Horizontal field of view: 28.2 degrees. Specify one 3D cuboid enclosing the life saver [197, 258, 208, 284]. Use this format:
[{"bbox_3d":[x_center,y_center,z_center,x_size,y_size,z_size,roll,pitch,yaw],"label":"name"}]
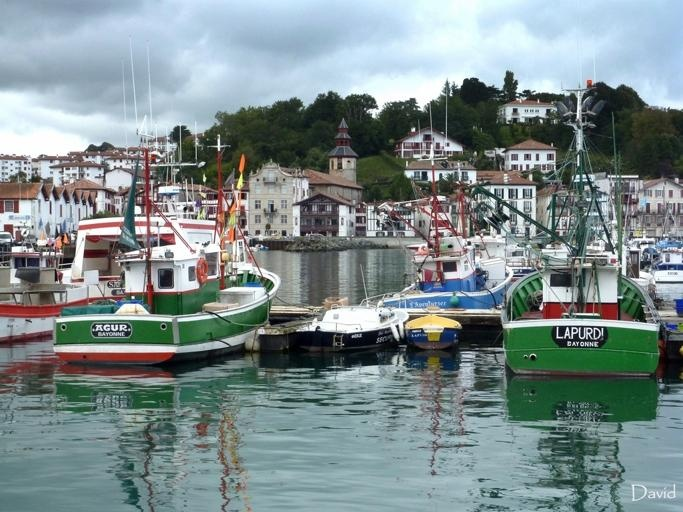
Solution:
[{"bbox_3d":[-4.510,0.488,44.023,0.139,0.773,0.791,-4,-6,14],"label":"life saver"}]
